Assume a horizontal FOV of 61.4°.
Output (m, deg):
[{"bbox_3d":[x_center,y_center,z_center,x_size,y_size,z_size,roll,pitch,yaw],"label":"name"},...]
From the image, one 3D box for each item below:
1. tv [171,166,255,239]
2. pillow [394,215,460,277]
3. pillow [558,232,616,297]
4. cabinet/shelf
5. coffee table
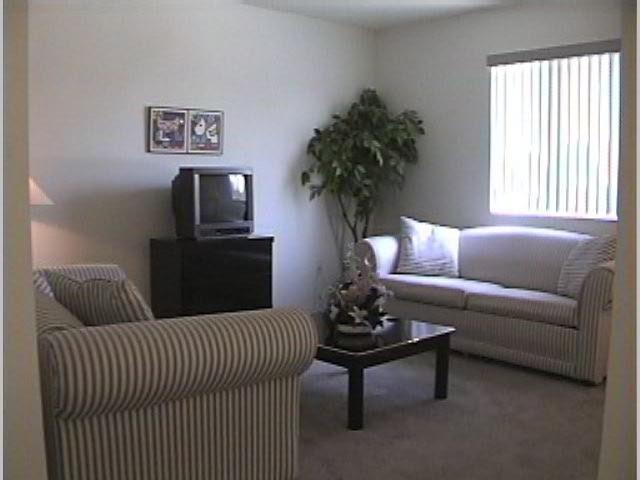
[{"bbox_3d":[-0.781,-0.283,4.176,0.683,0.668,0.486,-2,2,-41],"label":"tv"},{"bbox_3d":[0.876,0.070,4.381,0.399,0.436,0.159,9,-23,-2],"label":"pillow"},{"bbox_3d":[1.759,0.175,3.512,0.202,0.422,0.384,-4,9,-25],"label":"pillow"},{"bbox_3d":[-0.812,0.253,4.178,0.981,0.991,0.527,-1,0,-32],"label":"cabinet/shelf"},{"bbox_3d":[0.374,0.710,2.982,0.824,0.384,0.366,-6,11,-37],"label":"coffee table"}]
